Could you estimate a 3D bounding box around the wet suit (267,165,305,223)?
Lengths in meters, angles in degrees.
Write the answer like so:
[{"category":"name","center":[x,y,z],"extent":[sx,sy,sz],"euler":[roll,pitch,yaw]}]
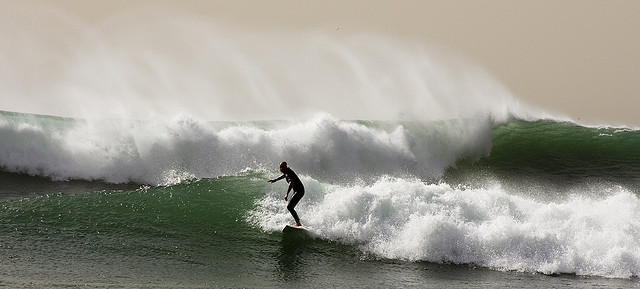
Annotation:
[{"category":"wet suit","center":[-1.567,2.523,40.508],"extent":[1.543,2.670,1.577],"euler":[10,-17,-2]}]
